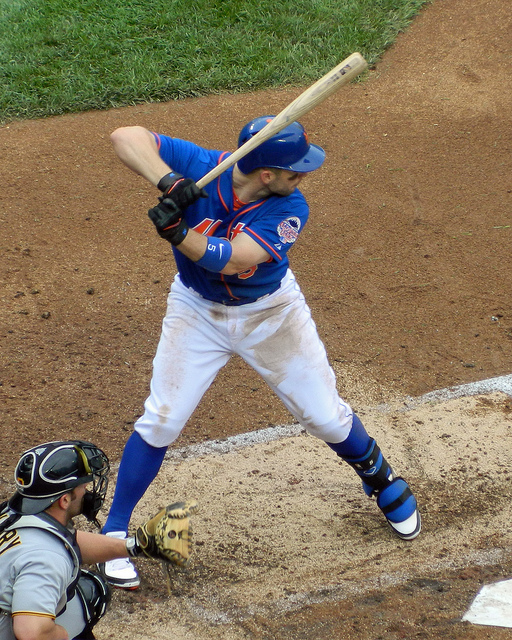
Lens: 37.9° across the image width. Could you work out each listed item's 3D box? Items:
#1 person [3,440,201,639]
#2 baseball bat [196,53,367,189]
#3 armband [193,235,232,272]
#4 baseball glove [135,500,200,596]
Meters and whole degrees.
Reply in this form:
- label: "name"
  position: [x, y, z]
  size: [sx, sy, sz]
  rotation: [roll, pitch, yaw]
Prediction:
- label: "person"
  position: [-0.642, 0.958, 3.134]
  size: [0.751, 0.783, 0.398]
  rotation: [-23, 60, -33]
- label: "baseball bat"
  position: [0.145, -0.866, 3.167]
  size: [0.114, 1.033, 0.145]
  rotation: [51, 58, -12]
- label: "armband"
  position: [-0.158, -0.264, 3.022]
  size: [0.166, 0.144, 0.120]
  rotation: [-12, 92, 0]
- label: "baseball glove"
  position: [-0.385, 0.955, 3.036]
  size: [0.224, 0.484, 0.368]
  rotation: [6, 31, -15]
